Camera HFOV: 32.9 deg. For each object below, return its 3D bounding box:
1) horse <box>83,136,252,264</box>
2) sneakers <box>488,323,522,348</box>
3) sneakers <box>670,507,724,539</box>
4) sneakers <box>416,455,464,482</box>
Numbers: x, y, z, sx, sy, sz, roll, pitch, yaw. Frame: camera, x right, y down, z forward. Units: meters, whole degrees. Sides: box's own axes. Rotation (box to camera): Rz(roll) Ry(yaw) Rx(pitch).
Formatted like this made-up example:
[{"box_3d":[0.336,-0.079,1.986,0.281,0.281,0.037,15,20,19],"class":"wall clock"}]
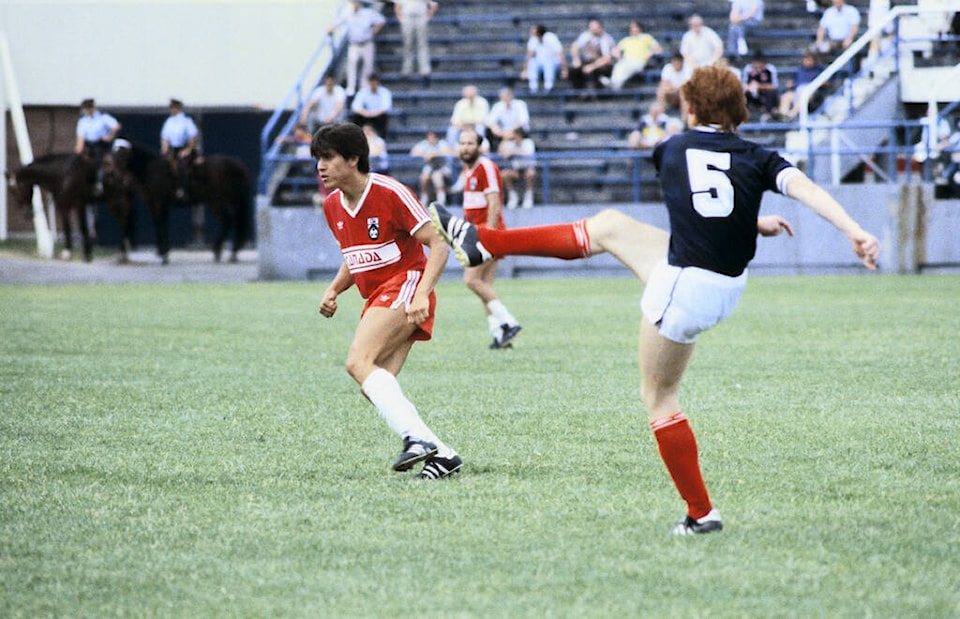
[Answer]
[{"box_3d":[-1.738,-0.615,9.227,0.988,0.638,0.259,-2,11,-36],"class":"horse"},{"box_3d":[0.204,0.230,13.192,0.139,0.119,0.320,37,-25,-12],"class":"sneakers"},{"box_3d":[1.215,1.205,9.072,0.310,0.128,0.118,-2,-3,6],"class":"sneakers"},{"box_3d":[-0.234,0.947,9.655,0.303,0.133,0.105,-2,-3,-30],"class":"sneakers"}]
